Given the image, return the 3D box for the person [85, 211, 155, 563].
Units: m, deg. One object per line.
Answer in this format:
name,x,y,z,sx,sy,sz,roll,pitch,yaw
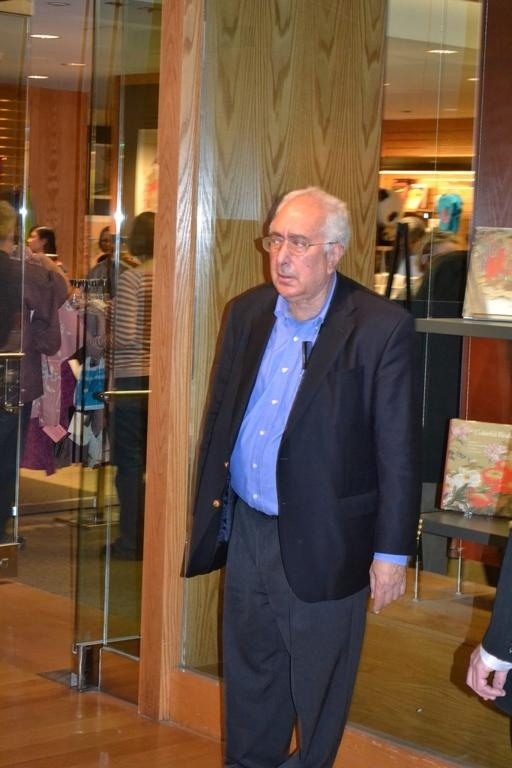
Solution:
person,-0.441,0.025,2.175,0.127,1.186,0.316,2,-4,-14
